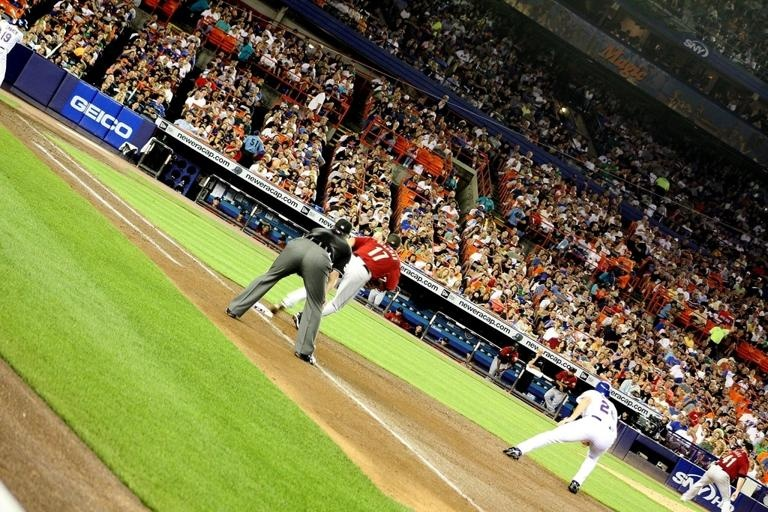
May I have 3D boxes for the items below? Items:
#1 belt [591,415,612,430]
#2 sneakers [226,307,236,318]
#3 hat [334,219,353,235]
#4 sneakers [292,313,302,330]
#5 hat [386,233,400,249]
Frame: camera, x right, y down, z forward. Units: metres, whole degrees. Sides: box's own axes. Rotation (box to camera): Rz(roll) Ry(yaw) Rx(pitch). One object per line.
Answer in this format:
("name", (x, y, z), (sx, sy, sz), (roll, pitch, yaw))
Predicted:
("belt", (6.049, 4.714, 22.870), (0.429, 0.196, 0.341), (36, 3, 7))
("sneakers", (-3.823, 1.457, 20.810), (0.258, 0.146, 0.195), (41, -14, -13))
("hat", (-1.025, -0.798, 21.063), (0.349, 0.395, 0.428), (14, 16, -2))
("sneakers", (-2.284, 1.751, 21.877), (0.152, 0.213, 0.517), (-4, -62, 31))
("hat", (0.267, -0.426, 22.652), (0.356, 0.450, 0.334), (35, 1, -3))
